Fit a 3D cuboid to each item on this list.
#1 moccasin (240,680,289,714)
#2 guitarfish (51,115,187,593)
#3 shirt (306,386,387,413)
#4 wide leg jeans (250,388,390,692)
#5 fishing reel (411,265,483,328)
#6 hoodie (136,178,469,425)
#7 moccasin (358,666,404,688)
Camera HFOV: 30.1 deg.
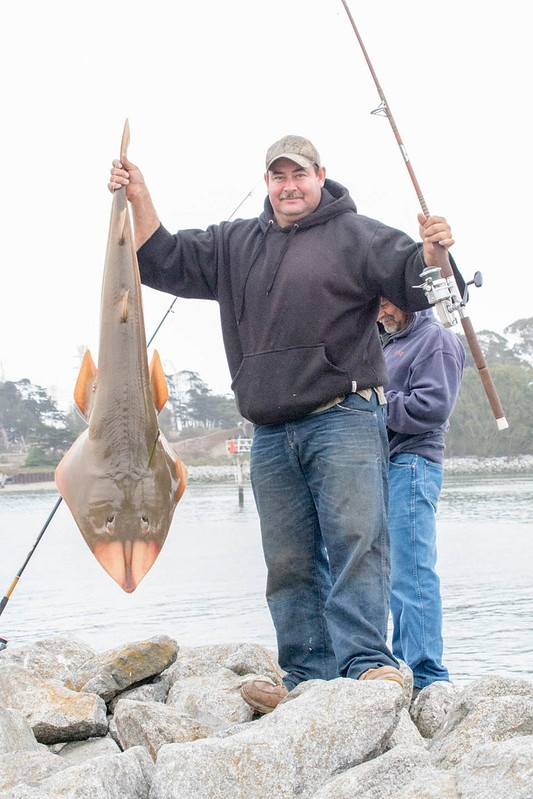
[{"bbox_3d":[-0.006,1.114,3.735,0.173,0.104,0.070,10,-16,40],"label":"moccasin"},{"bbox_3d":[-0.519,-0.181,3.403,0.566,1.635,0.312,1,-14,-14],"label":"guitarfish"},{"bbox_3d":[0.348,-0.011,3.783,0.145,0.060,0.179,-19,-6,16],"label":"shirt"},{"bbox_3d":[0.254,0.534,3.725,0.363,1.110,0.572,-1,-3,-24],"label":"wide leg jeans"},{"bbox_3d":[0.644,-0.379,3.492,0.248,0.222,0.189,-16,8,-6],"label":"fishing reel"},{"bbox_3d":[0.167,-0.352,3.797,1.189,0.669,0.351,-9,-15,32],"label":"hoodie"},{"bbox_3d":[0.389,0.939,3.360,0.073,0.062,0.173,3,-16,-18],"label":"moccasin"}]
